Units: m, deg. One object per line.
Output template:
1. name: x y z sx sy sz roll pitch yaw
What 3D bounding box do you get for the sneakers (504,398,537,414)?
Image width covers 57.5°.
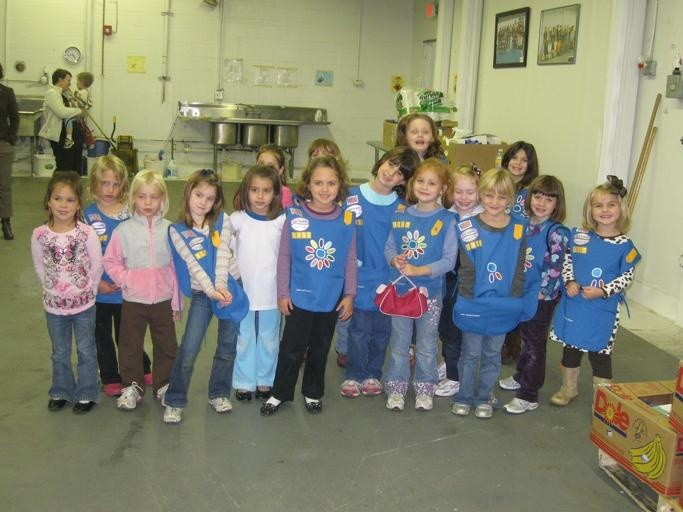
1. sneakers: 1.018 0.835 3.538 0.192 0.070 0.076 1 -2 -30

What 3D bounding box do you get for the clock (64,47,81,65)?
1. clock: -4.377 -3.254 10.186 0.266 0.283 0.082 2 15 3

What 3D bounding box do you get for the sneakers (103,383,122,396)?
1. sneakers: -1.283 0.749 3.513 0.125 0.055 0.046 -8 -2 29

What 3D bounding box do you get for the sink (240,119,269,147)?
1. sink: -1.374 -1.935 9.936 0.355 0.412 0.361 0 3 -2

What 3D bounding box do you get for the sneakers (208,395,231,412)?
1. sneakers: -0.649 0.801 3.395 0.058 0.056 0.126 -2 -3 -28

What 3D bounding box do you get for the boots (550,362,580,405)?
1. boots: 1.312 0.748 3.656 0.215 0.220 0.106 -7 13 -32

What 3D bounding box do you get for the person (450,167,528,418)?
1. person: 0.813 0.199 3.474 0.364 1.337 0.472 15 21 42

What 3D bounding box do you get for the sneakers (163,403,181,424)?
1. sneakers: -0.895 0.821 3.333 0.097 0.077 0.147 -2 15 -12

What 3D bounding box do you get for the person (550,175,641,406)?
1. person: 1.460 0.210 3.565 0.374 1.291 0.440 11 18 32

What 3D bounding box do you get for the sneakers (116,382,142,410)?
1. sneakers: -1.149 0.764 3.387 0.077 0.079 0.180 1 -5 -2

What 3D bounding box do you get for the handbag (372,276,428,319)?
1. handbag: 0.332 0.234 3.420 0.283 0.236 0.219 5 16 15

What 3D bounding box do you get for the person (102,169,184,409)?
1. person: -1.072 0.183 3.385 0.391 1.242 0.397 -3 16 -16

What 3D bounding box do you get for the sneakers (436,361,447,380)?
1. sneakers: 0.626 0.709 3.859 0.053 0.061 0.151 -7 2 23

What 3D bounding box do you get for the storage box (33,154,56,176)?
1. storage box: -4.568 -1.390 9.769 0.395 0.328 0.431 3 8 -16

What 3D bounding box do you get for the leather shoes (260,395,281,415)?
1. leather shoes: -0.389 0.816 3.405 0.073 0.043 0.119 6 14 15

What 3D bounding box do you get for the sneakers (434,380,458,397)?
1. sneakers: 0.622 0.777 3.674 0.145 0.064 0.072 2 -3 -33

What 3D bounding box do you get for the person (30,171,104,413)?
1. person: -1.449 0.190 3.326 0.346 1.234 0.351 0 15 -4

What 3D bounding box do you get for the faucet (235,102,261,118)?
1. faucet: -1.576 -2.454 10.601 0.364 0.249 0.091 -2 -30 -6
